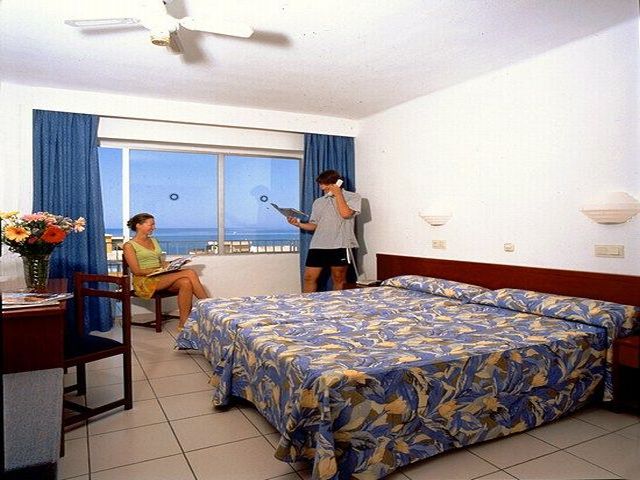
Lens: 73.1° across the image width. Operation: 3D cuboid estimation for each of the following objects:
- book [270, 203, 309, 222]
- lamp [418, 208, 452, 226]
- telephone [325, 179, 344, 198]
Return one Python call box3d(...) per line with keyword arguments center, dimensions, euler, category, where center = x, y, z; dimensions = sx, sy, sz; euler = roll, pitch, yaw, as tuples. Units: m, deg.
box3d(center=(-0.404, -0.372, 5.833), dimensions=(0.338, 0.084, 0.338), euler=(14, -7, 40), category="book")
box3d(center=(1.293, -0.243, 4.888), dimensions=(0.062, 0.193, 0.425), euler=(-3, 6, -29), category="lamp")
box3d(center=(0.189, -0.670, 5.612), dimensions=(0.240, 0.077, 0.232), euler=(-30, 19, 51), category="telephone")
